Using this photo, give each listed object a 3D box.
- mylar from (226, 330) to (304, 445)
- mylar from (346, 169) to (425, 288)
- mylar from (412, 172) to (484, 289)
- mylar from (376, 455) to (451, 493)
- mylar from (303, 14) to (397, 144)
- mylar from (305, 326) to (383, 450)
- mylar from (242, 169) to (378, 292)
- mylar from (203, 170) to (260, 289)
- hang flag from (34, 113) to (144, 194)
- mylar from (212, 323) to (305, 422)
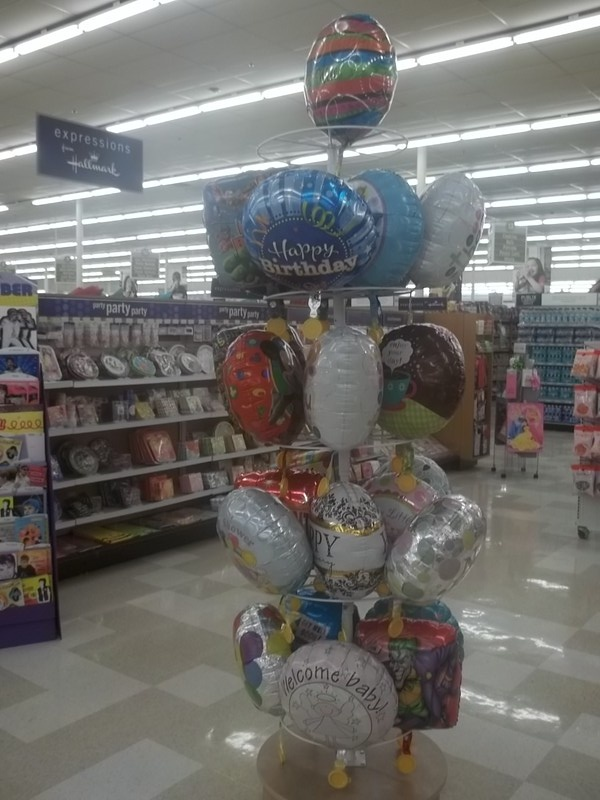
[{"bbox_3d":[-0.095,-0.024,1.655,0.197,0.327,0.254,-9,8,-3],"label":"mylar"},{"bbox_3d":[0.245,-0.496,1.611,0.227,0.293,0.259,-8,32,-30],"label":"mylar"},{"bbox_3d":[0.440,-0.501,1.721,0.190,0.332,0.252,3,26,-19],"label":"mylar"},{"bbox_3d":[0.481,0.272,2.109,0.204,0.128,0.202,3,9,4],"label":"mylar"},{"bbox_3d":[0.138,-0.863,1.606,0.256,0.357,0.288,1,13,5],"label":"mylar"},{"bbox_3d":[0.126,-0.029,1.486,0.212,0.346,0.204,0,-1,-15],"label":"mylar"},{"bbox_3d":[0.018,-0.420,1.362,0.303,0.247,0.290,0,-1,19],"label":"mylar"},{"bbox_3d":[-0.165,-0.503,1.720,0.226,0.288,0.062,5,19,43],"label":"mylar"},{"bbox_3d":[-2.142,-2.520,5.767,1.298,0.618,0.055,16,29,12],"label":"hang flag"},{"bbox_3d":[-0.106,-0.065,1.639,0.176,0.287,0.228,-6,10,5],"label":"mylar"}]
